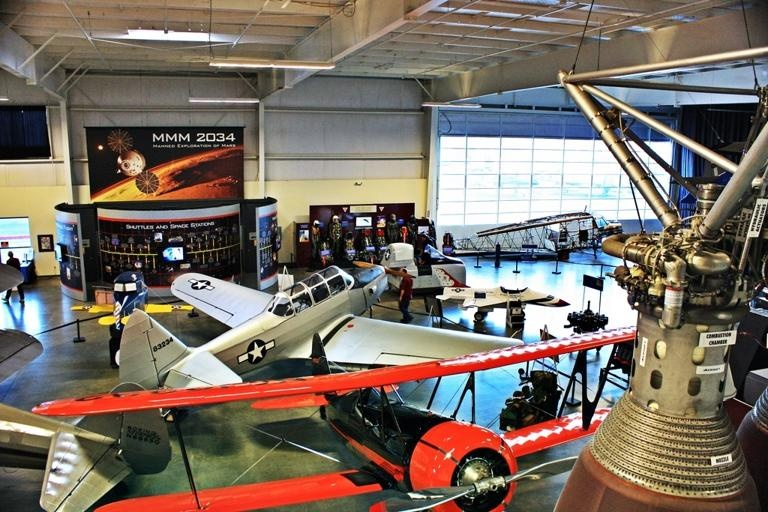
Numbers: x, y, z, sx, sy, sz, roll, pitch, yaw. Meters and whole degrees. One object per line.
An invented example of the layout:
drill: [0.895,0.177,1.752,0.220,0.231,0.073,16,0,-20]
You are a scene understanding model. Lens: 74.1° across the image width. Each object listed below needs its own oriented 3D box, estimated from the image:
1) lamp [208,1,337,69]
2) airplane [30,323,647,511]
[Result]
lamp: [-2.682,-4.829,12.948,2.461,1.379,5.221,-3,5,-8]
airplane: [-0.219,2.538,7.178,6.844,2.448,3.256,-1,5,4]
